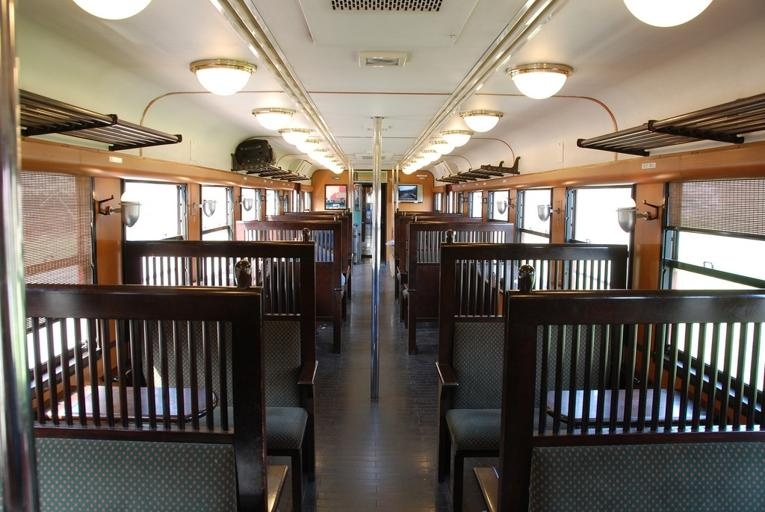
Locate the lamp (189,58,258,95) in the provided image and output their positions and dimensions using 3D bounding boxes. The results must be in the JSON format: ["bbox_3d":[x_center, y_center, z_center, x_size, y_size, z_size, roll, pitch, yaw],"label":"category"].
[{"bbox_3d":[-1.276,-1.406,4.150,0.534,0.250,0.194,0,0,4],"label":"lamp"}]

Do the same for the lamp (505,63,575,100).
[{"bbox_3d":[1.226,-1.359,4.095,0.521,0.241,0.172,0,0,-7],"label":"lamp"}]
